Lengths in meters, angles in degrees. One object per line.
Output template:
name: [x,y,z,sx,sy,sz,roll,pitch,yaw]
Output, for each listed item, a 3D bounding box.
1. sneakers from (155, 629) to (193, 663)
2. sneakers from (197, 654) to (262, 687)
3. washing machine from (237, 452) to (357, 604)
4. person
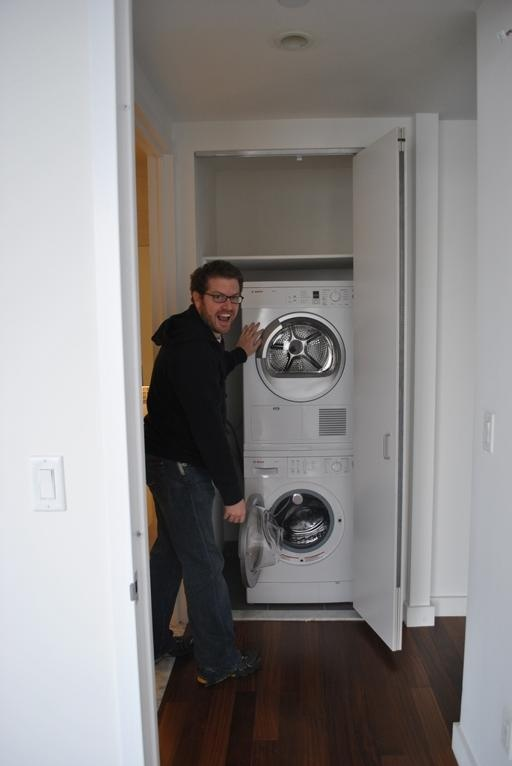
sneakers: [-0.319,1.024,2.290,0.071,0.102,0.210,2,1,38]
sneakers: [-0.096,1.024,2.191,0.243,0.123,0.088,-5,4,-36]
washing machine: [0.244,0.687,3.000,0.539,0.939,0.621,-1,-1,0]
person: [-0.193,0.320,2.183,0.423,1.534,0.461,1,5,28]
